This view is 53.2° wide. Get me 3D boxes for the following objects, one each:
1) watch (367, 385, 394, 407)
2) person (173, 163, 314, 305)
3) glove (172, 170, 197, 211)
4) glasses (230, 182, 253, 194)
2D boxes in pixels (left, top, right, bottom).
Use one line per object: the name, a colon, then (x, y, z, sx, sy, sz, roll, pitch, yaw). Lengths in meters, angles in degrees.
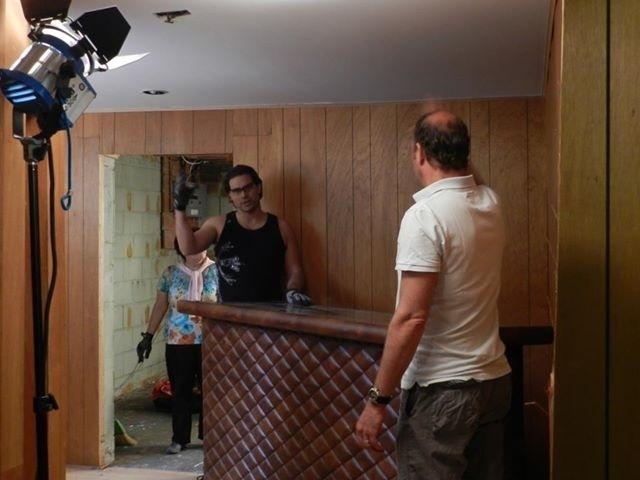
watch: (0.216, 0.559, 2.309, 0.083, 0.062, 0.086, 25, -4, -30)
person: (-0.498, -0.040, 4.070, 0.796, 0.879, 0.462, 0, 3, 25)
glove: (-0.887, -0.312, 4.140, 0.114, 0.252, 0.285, -2, 4, -12)
glasses: (-0.491, -0.325, 4.001, 0.169, 0.072, 0.088, -2, 4, -4)
